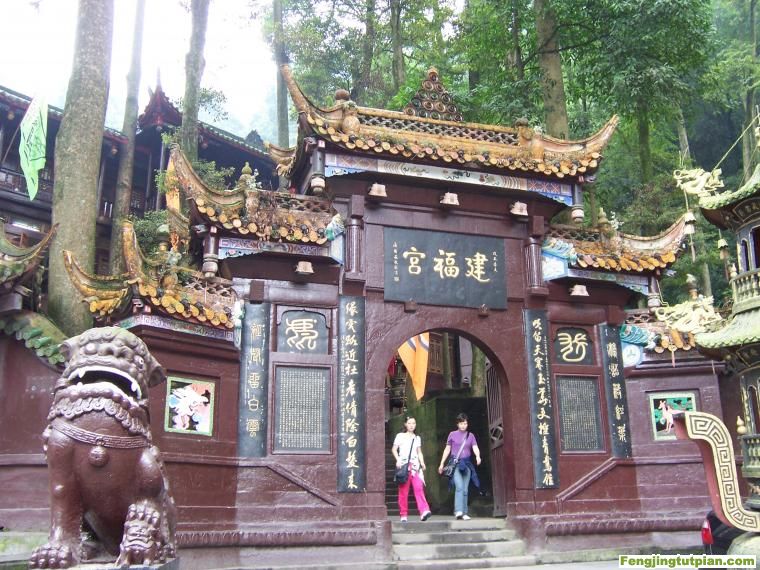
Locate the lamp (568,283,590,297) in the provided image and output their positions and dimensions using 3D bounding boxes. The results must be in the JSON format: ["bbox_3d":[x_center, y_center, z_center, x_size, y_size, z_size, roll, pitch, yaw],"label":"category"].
[{"bbox_3d":[3.420,0.086,13.045,0.411,0.190,0.174,4,-11,-25],"label":"lamp"}]

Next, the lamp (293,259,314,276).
[{"bbox_3d":[-1.179,-0.278,12.031,0.321,0.240,0.245,4,-11,-24],"label":"lamp"}]

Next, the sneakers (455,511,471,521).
[{"bbox_3d":[1.329,3.669,12.308,0.235,0.143,0.332,-1,-10,5],"label":"sneakers"}]

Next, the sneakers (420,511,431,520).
[{"bbox_3d":[0.713,3.617,12.086,0.138,0.174,0.373,0,-10,-1],"label":"sneakers"}]

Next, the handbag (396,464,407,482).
[{"bbox_3d":[0.314,2.950,12.035,0.138,0.304,0.276,6,-12,-31],"label":"handbag"}]

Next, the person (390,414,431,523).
[{"bbox_3d":[0.491,2.937,12.274,0.535,1.642,0.659,-1,-10,1],"label":"person"}]
